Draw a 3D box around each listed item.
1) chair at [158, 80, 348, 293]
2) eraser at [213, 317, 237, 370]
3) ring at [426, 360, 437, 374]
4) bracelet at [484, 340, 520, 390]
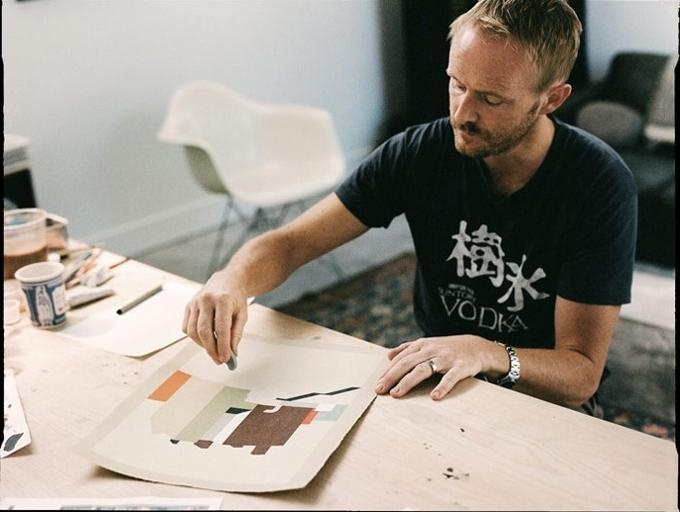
[{"bbox_3d":[-0.207,-0.349,2.387,0.618,0.756,0.542,-24,37,-35],"label":"chair"},{"bbox_3d":[-0.236,0.189,1.277,0.052,0.080,0.020,5,8,36],"label":"eraser"},{"bbox_3d":[0.182,0.221,1.231,0.006,0.019,0.018,-13,30,-8],"label":"ring"},{"bbox_3d":[0.372,0.235,1.360,0.064,0.098,0.105,2,-15,22],"label":"bracelet"}]
